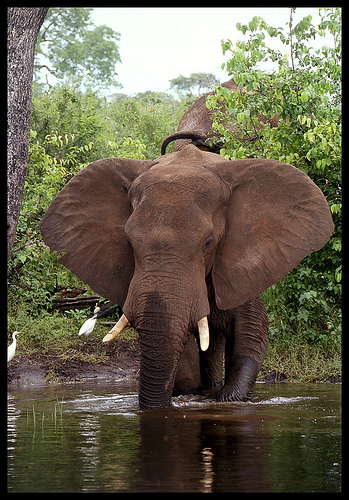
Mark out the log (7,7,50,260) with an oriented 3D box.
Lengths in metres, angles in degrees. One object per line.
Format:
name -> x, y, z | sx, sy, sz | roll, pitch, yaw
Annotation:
log -> -1.051, -0.849, 3.779 | 0.255, 1.806, 0.372 | 3, -4, -13

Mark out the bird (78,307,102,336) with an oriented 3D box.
bird -> -1.310, 1.116, 8.489 | 0.121, 0.429, 0.222 | 28, -9, 9

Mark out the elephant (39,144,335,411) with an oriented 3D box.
elephant -> 0.124, 0.137, 4.308 | 1.516, 2.013, 1.424 | 4, -4, -31
